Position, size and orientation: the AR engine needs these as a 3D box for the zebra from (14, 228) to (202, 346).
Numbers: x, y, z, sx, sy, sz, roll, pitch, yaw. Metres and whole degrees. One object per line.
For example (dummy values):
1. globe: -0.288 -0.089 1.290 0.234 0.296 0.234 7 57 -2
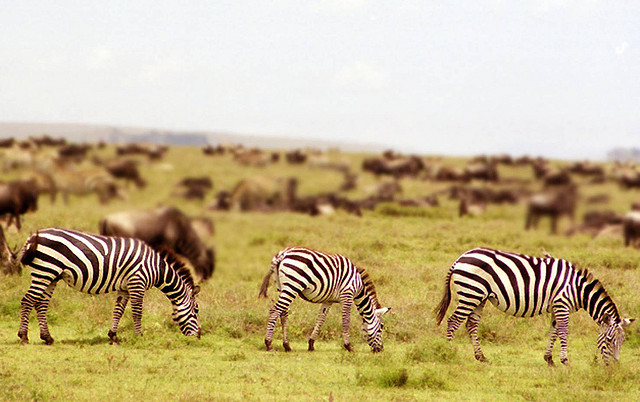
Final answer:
1. zebra: -9.320 4.034 49.578 8.536 5.136 2.302 7 -6 -15
